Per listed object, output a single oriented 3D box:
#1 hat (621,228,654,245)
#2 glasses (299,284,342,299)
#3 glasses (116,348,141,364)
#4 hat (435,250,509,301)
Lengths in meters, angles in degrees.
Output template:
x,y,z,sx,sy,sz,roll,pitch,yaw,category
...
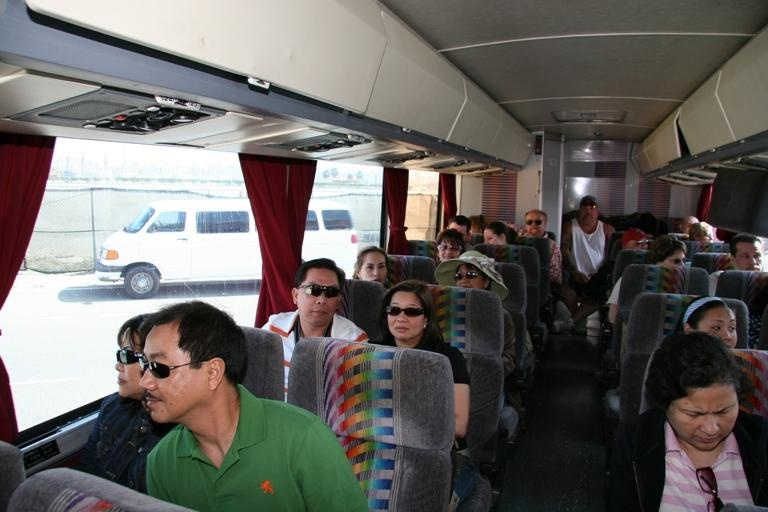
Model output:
x,y,z,sx,sy,sz,roll,pitch,yaw,category
4.606,-0.362,9.456,0.514,0.302,0.376,-8,-1,36,hat
-0.498,0.266,4.033,0.309,0.109,0.095,-2,11,-11,glasses
-1.385,0.540,2.809,0.141,0.056,0.137,11,-11,-39,glasses
0.869,0.181,5.240,0.524,0.274,0.561,17,-31,10,hat
